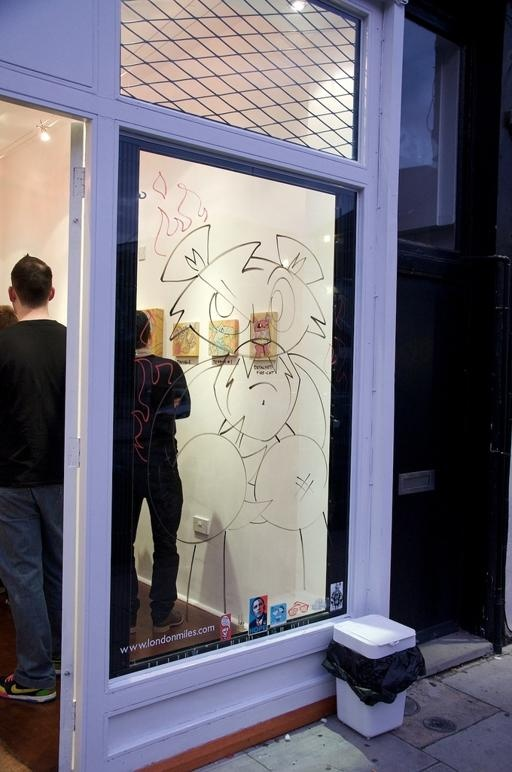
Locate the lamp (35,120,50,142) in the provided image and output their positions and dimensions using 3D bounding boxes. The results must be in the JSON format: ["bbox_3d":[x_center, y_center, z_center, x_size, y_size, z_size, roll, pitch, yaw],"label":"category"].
[{"bbox_3d":[-1.212,-1.456,3.734,0.067,0.121,0.068,-5,-8,41],"label":"lamp"}]

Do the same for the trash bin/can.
[{"bbox_3d":[0.393,0.948,2.316,0.261,0.392,0.284,-5,7,-33],"label":"trash bin/can"}]
